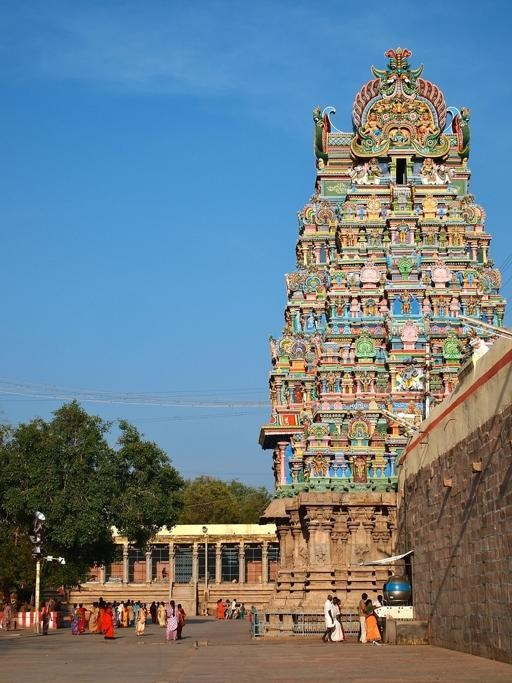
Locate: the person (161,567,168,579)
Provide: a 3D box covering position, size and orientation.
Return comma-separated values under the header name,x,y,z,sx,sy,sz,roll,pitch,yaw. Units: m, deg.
name,x,y,z,sx,sy,sz,roll,pitch,yaw
person,-5.808,14.635,97.685,0.421,1.060,0.373,2,-43,-6
